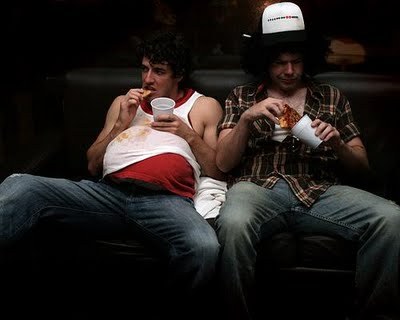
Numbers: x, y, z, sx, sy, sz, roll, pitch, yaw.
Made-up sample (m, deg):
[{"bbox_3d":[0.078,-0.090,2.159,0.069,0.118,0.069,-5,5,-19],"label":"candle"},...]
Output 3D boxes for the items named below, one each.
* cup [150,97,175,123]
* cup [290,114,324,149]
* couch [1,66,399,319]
[{"bbox_3d":[-0.185,-0.246,1.658,0.111,0.082,0.111,1,31,-1],"label":"cup"},{"bbox_3d":[0.469,-0.120,1.542,0.107,0.103,0.106,13,55,-19],"label":"cup"},{"bbox_3d":[0.201,0.365,2.096,1.846,1.159,0.970,0,11,5],"label":"couch"}]
